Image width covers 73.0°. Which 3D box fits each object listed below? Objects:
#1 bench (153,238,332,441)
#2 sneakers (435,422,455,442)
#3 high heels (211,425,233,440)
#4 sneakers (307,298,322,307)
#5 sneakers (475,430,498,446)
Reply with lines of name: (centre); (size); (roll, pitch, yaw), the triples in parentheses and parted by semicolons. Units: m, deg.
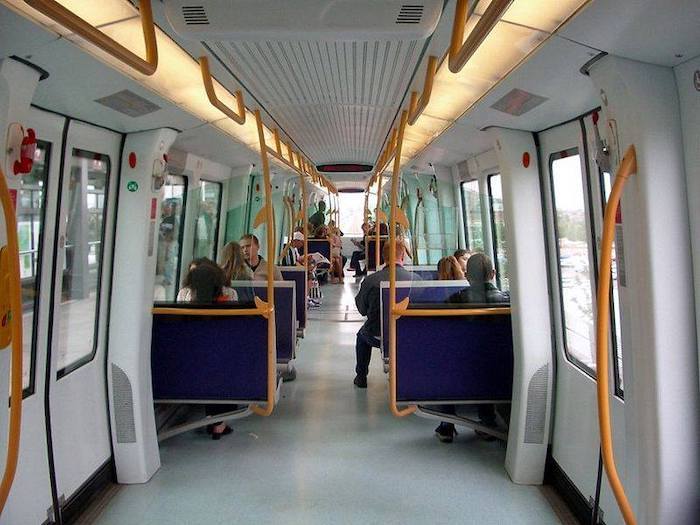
bench: (-1.139, 0.597, 4.028); (1.027, 1.545, 0.313); (1, 5, 7)
sneakers: (0.875, 1.558, 4.393); (0.189, 0.187, 0.151); (-1, 2, 5)
high heels: (-1.218, 1.606, 4.526); (0.080, 0.092, 0.198); (3, 7, 14)
sneakers: (-0.768, 0.871, 10.352); (0.320, 0.143, 0.108); (-3, 8, -5)
sneakers: (1.245, 1.606, 4.410); (0.244, 0.059, 0.124); (7, 10, 44)
